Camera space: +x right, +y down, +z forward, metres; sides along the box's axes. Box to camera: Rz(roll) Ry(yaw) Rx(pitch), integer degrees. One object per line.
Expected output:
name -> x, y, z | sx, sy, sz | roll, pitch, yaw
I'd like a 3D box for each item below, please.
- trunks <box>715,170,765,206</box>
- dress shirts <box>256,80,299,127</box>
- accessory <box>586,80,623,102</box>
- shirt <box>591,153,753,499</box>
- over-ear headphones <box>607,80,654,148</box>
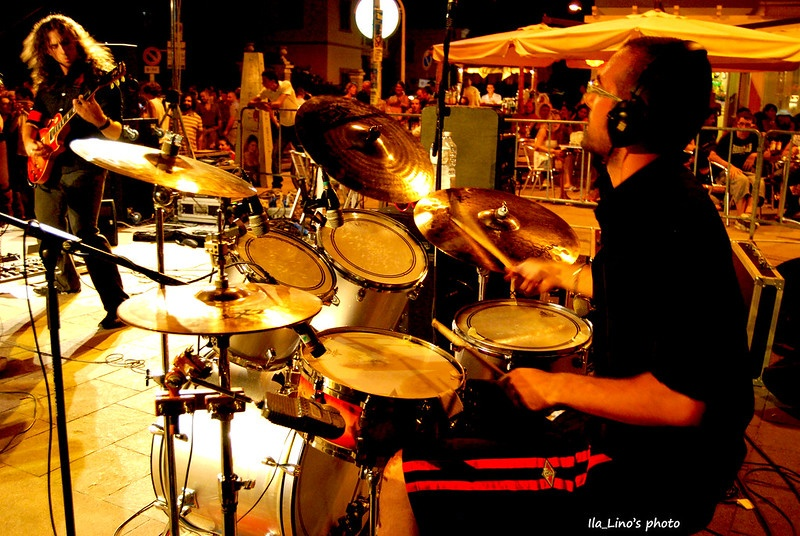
trunks -> 4.923, -1.168, 9.777 | 0.514, 0.746, 0.346 | 5, -16, 24
dress shirts -> -2.165, -3.139, 12.471 | 0.603, 0.605, 0.404 | -18, 26, -40
accessory -> 0.812, -0.698, 2.639 | 0.114, 0.030, 0.105 | 17, 9, -26
shirt -> 1.047, 0.216, 2.540 | 0.568, 1.252, 0.438 | 4, 13, 17
over-ear headphones -> 0.856, -0.594, 2.574 | 0.176, 0.209, 0.146 | 0, 51, 0
